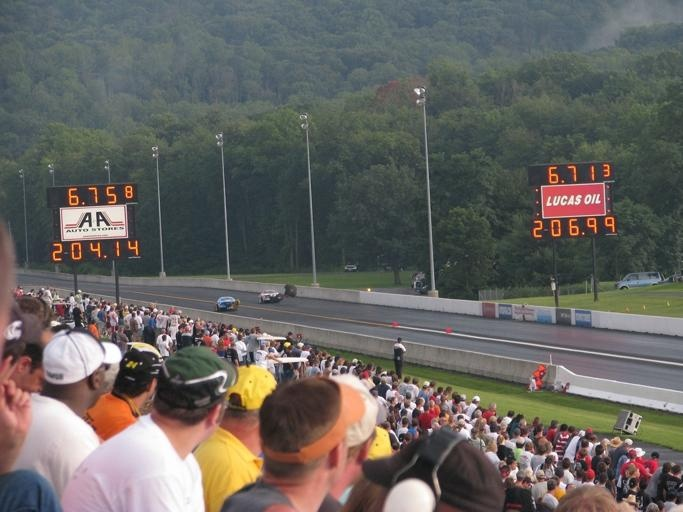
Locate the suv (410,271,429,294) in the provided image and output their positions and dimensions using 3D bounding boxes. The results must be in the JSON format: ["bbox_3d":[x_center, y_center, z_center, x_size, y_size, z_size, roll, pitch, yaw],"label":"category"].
[{"bbox_3d":[11.785,4.219,215.000,1.705,1.680,3.170,-1,36,1],"label":"suv"}]
